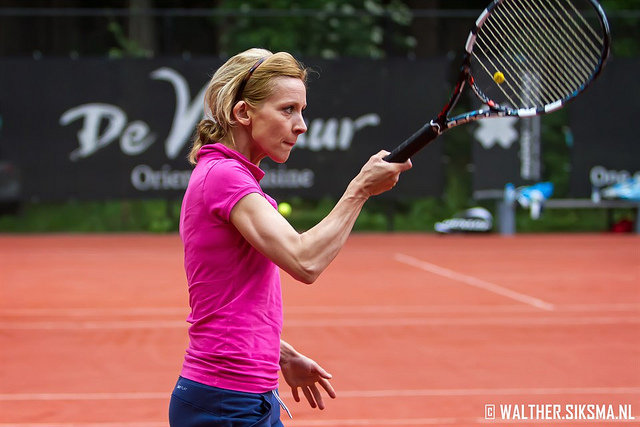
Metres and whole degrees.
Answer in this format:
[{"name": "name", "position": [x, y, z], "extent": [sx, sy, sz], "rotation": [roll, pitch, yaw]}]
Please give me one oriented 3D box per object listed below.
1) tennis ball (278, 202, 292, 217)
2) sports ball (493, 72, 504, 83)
[{"name": "tennis ball", "position": [-0.673, -0.119, 16.359], "extent": [0.196, 0.256, 0.210], "rotation": [-2, -38, -2]}, {"name": "sports ball", "position": [1.752, -1.349, 8.490], "extent": [0.090, 0.106, 0.164], "rotation": [1, 3, 12]}]
